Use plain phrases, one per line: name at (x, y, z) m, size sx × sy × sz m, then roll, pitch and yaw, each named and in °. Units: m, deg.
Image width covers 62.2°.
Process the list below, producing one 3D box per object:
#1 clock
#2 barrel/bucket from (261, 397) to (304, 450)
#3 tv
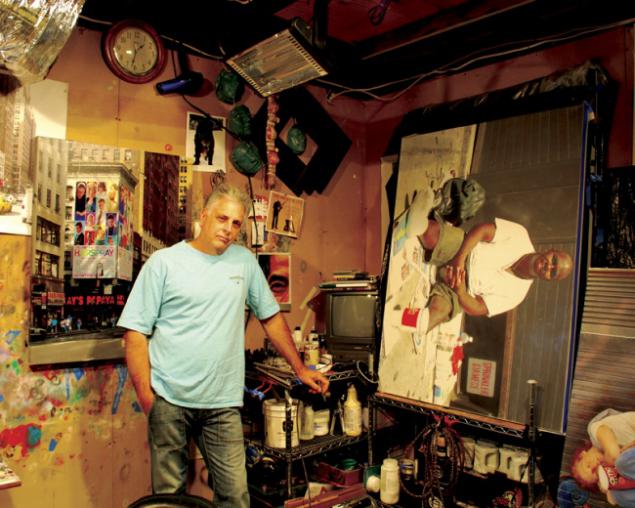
clock at (-1.197, -1.326, 3.443) m, size 0.339 × 0.388 × 0.166 m, roll 1°, pitch 3°, yaw -41°
barrel/bucket at (-0.222, 1.061, 3.399) m, size 0.200 × 0.315 × 0.211 m, roll 3°, pitch 1°, yaw 0°
tv at (0.243, 0.453, 3.735) m, size 0.494 × 0.585 × 0.213 m, roll 1°, pitch -2°, yaw 12°
